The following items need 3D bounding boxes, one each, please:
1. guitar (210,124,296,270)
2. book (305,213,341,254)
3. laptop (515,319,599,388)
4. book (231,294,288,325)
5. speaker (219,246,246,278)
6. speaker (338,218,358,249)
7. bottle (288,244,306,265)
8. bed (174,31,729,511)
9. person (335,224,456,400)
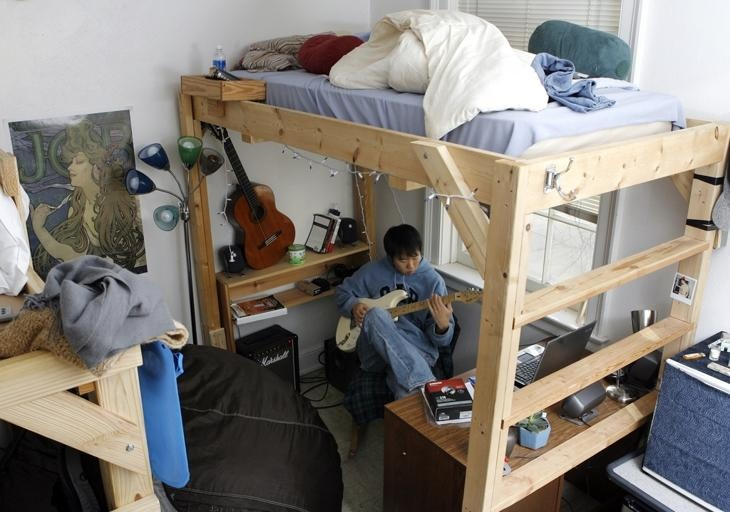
[{"bbox_3d":[-0.801,-0.387,3.796,0.405,1.009,0.136,-32,24,-29],"label":"guitar"},{"bbox_3d":[-0.316,-0.175,4.098,0.211,0.302,0.090,16,4,27],"label":"book"},{"bbox_3d":[0.934,0.465,2.738,0.402,0.257,0.346,-22,25,-30],"label":"laptop"},{"bbox_3d":[-0.745,0.373,3.834,0.232,0.052,0.232,-12,22,-25],"label":"book"},{"bbox_3d":[-0.912,0.032,3.798,0.159,0.236,0.138,-12,13,-30],"label":"speaker"},{"bbox_3d":[-0.139,-0.175,4.190,0.165,0.248,0.129,-11,21,-31],"label":"speaker"},{"bbox_3d":[-0.490,-0.015,3.994,0.127,0.127,0.118,-11,29,-23],"label":"bottle"},{"bbox_3d":[0.372,-0.062,3.094,2.091,1.923,2.344,-15,28,-36],"label":"bed"},{"bbox_3d":[0.187,0.388,3.459,0.759,0.538,1.508,2,27,-4],"label":"person"}]
